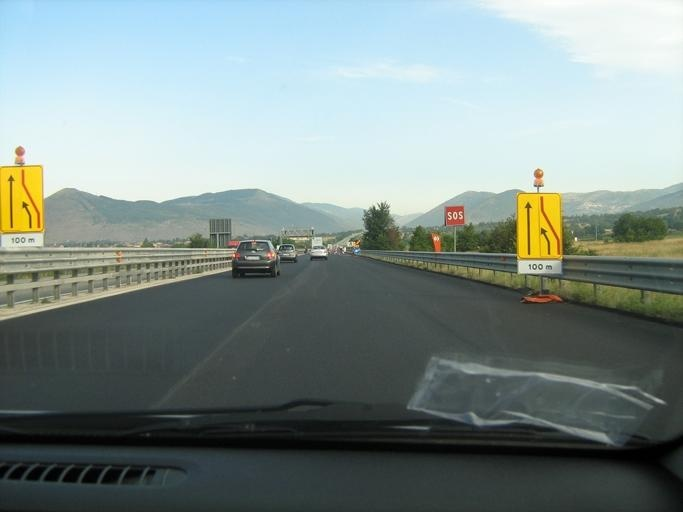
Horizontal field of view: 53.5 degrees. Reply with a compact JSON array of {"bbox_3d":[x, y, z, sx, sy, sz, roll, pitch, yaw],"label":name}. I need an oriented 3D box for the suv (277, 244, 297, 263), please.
[{"bbox_3d":[-4.149,-0.126,52.133,1.347,1.333,2.182,-1,2,-6],"label":"suv"}]

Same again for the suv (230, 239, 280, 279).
[{"bbox_3d":[-3.447,0.137,27.235,1.737,1.489,1.347,-1,2,-11],"label":"suv"}]
